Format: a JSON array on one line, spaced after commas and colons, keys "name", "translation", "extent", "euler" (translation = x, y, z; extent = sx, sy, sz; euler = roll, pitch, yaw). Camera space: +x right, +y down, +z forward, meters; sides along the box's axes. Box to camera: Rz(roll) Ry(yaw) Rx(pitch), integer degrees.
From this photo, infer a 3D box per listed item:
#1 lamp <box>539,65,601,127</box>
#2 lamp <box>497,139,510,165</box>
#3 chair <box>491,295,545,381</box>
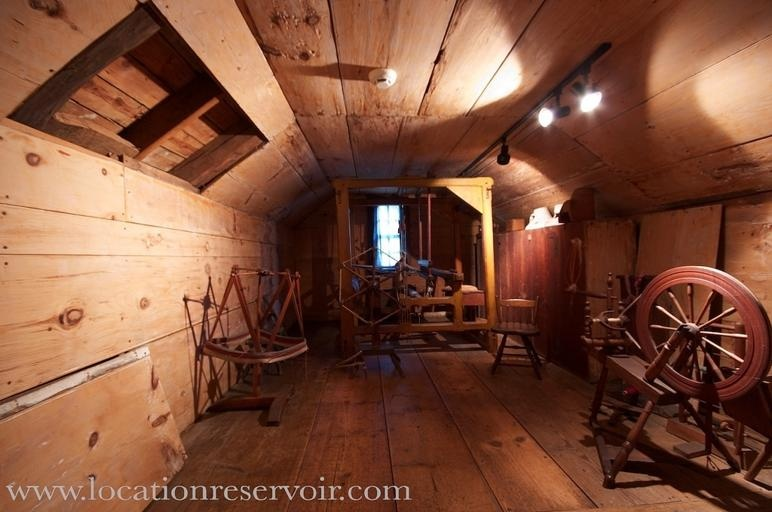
[{"name": "lamp", "translation": [1.546, -1.300, 3.946], "extent": [0.243, 0.443, 0.562], "euler": [14, -22, -43]}, {"name": "lamp", "translation": [1.290, -1.132, 5.049], "extent": [0.133, 0.251, 0.452], "euler": [0, 7, 14]}, {"name": "chair", "translation": [1.432, 0.864, 5.124], "extent": [0.546, 0.731, 0.557], "euler": [0, 6, 26]}]
